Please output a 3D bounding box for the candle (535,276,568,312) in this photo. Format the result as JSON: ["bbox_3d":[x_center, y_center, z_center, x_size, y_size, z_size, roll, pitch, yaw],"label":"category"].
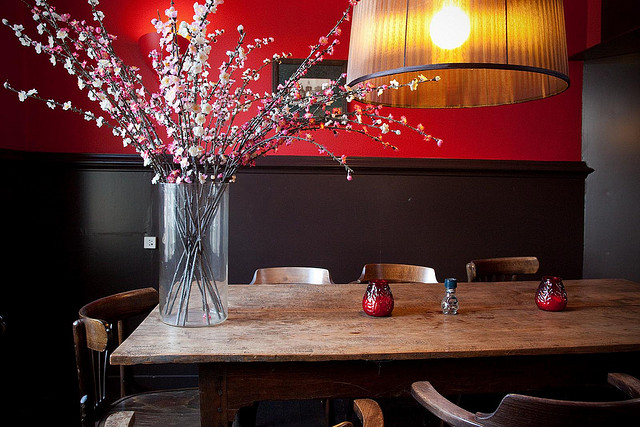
[{"bbox_3d":[1.259,0.430,2.522,0.170,0.179,0.173,-3,1,35],"label":"candle"}]

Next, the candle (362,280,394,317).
[{"bbox_3d":[0.306,0.439,2.449,0.175,0.175,0.180,1,5,5],"label":"candle"}]

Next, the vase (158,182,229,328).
[{"bbox_3d":[-0.619,0.198,2.290,0.338,0.698,0.192,-3,13,-13],"label":"vase"}]
